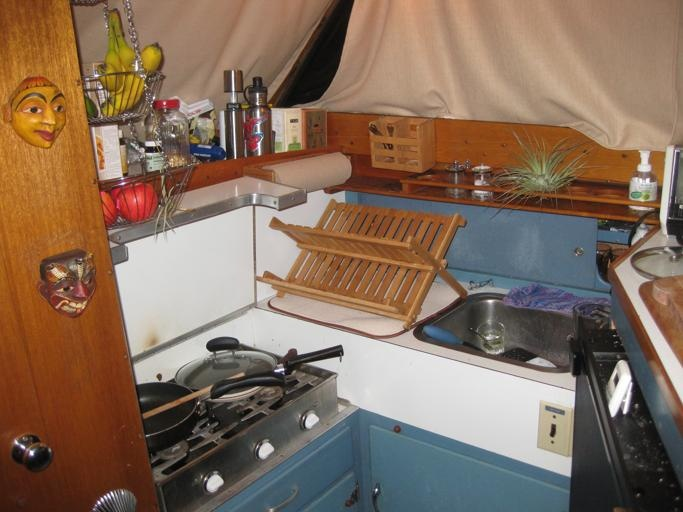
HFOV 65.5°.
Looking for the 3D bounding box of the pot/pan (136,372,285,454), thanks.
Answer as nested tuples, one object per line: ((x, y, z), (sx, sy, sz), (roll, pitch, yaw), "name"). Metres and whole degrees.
((-0.399, 0.425, 1.586), (0.378, 0.096, 0.194), (-4, 11, -38), "pot/pan")

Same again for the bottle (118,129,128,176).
((-0.580, -0.284, 1.423), (0.017, 0.122, 0.123), (-5, 14, -20), "bottle")

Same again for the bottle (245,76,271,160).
((-0.313, -0.502, 2.036), (0.138, 0.329, 0.136), (0, 13, 0), "bottle")

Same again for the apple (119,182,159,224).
((-0.514, -0.138, 1.345), (0.096, 0.105, 0.091), (3, 16, -8), "apple")

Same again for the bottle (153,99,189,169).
((-0.484, -0.364, 1.554), (0.096, 0.186, 0.108), (-7, 15, -28), "bottle")

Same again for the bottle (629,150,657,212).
((0.973, -0.254, 1.709), (0.083, 0.175, 0.100), (7, 15, 28), "bottle")

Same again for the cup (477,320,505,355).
((0.560, 0.306, 1.985), (0.116, 0.126, 0.119), (-9, 26, 5), "cup")

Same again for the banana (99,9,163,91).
((-0.551, -0.532, 1.382), (0.200, 0.196, 0.066), (-2, 27, 15), "banana")

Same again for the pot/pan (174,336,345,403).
((-0.314, 0.366, 1.740), (0.342, 0.111, 0.248), (-2, 1, 7), "pot/pan")

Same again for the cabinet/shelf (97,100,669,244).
((0.247, -0.372, 1.986), (1.581, 0.368, 0.973), (-2, 13, -11), "cabinet/shelf")

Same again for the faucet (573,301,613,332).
((0.826, 0.192, 1.760), (0.107, 0.051, 0.180), (5, 13, 22), "faucet")

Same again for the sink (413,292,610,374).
((0.578, 0.280, 1.809), (0.572, 0.242, 0.447), (7, 14, 28), "sink")

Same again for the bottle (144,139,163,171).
((-0.508, -0.276, 1.444), (0.048, 0.082, 0.107), (-4, 13, -19), "bottle")
